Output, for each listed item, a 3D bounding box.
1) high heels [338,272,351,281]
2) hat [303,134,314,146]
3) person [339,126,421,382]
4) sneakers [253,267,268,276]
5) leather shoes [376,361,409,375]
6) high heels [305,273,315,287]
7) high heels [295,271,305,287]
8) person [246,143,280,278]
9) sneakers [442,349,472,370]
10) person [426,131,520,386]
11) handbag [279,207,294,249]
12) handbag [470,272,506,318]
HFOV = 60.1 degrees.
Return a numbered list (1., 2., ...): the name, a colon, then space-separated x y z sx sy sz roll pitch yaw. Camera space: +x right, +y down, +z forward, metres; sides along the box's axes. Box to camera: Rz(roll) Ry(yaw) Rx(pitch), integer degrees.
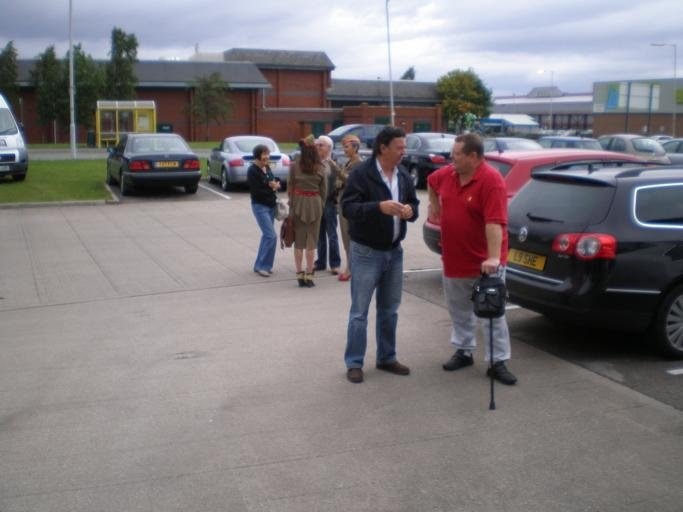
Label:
1. high heels: 0.064 0.321 8.967 0.243 0.094 0.084 2 0 -37
2. hat: -0.466 -1.694 8.609 0.169 0.074 0.204 4 16 -8
3. person: 0.349 -0.029 5.394 0.684 2.247 0.674 1 12 4
4. sneakers: -1.249 0.257 9.274 0.098 0.131 0.285 -7 18 -40
5. leather shoes: 0.506 1.053 5.574 0.267 0.107 0.112 4 8 36
6. high heels: -0.457 0.326 8.658 0.158 0.206 0.223 -1 12 -5
7. high heels: -0.577 0.317 8.671 0.116 0.200 0.256 -1 12 -5
8. person: -1.225 -0.758 9.417 0.465 1.991 1.098 -2 12 -9
9. sneakers: 1.131 0.971 5.670 0.346 0.167 0.135 -7 13 -32
10. person: 1.205 -0.017 5.465 0.498 2.197 1.048 -3 12 -14
11. handbag: -0.800 -0.356 8.823 0.187 0.533 0.348 -1 12 -5
12. handbag: 1.296 0.303 5.102 0.283 0.383 0.330 -5 8 -7
